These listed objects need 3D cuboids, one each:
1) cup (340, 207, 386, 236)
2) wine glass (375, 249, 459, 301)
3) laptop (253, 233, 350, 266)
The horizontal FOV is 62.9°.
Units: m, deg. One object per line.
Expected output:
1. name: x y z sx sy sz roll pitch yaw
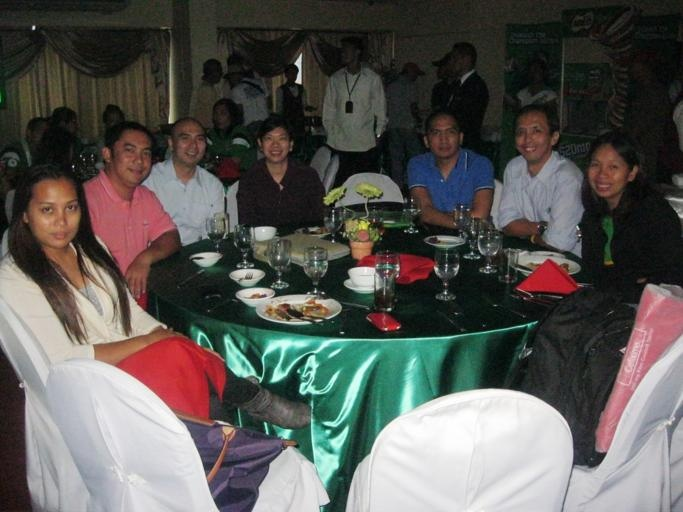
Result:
1. cup: 0.105 -0.185 2.887 0.191 0.150 0.220 -2 10 -7
2. wine glass: 0.318 0.043 2.281 0.286 0.131 0.217 -12 18 -16
3. laptop: -0.173 -0.043 2.670 0.235 0.058 0.244 -13 22 -42
